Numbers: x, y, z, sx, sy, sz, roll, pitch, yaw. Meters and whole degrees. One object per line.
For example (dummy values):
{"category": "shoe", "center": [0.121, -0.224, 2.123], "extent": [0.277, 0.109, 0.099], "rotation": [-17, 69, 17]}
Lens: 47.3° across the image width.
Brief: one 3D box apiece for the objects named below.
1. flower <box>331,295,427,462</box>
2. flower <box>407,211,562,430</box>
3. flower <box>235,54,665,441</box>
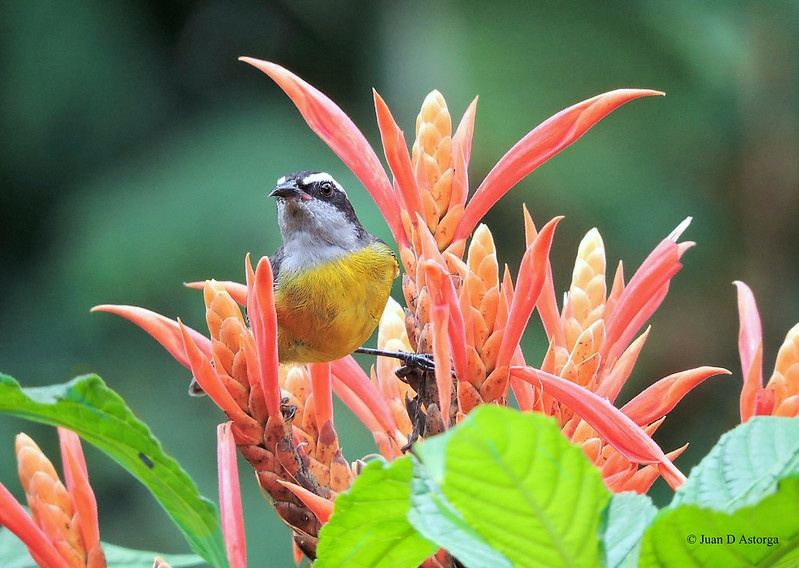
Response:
{"category": "flower", "center": [-0.049, 0.247, 2.263], "extent": [0.135, 0.416, 0.151], "rotation": [6, 31, 9]}
{"category": "flower", "center": [0.173, 0.116, 2.019], "extent": [0.298, 0.539, 0.382], "rotation": [-6, -14, 29]}
{"category": "flower", "center": [0.019, -0.255, 2.172], "extent": [0.750, 0.604, 0.793], "rotation": [6, 3, -15]}
